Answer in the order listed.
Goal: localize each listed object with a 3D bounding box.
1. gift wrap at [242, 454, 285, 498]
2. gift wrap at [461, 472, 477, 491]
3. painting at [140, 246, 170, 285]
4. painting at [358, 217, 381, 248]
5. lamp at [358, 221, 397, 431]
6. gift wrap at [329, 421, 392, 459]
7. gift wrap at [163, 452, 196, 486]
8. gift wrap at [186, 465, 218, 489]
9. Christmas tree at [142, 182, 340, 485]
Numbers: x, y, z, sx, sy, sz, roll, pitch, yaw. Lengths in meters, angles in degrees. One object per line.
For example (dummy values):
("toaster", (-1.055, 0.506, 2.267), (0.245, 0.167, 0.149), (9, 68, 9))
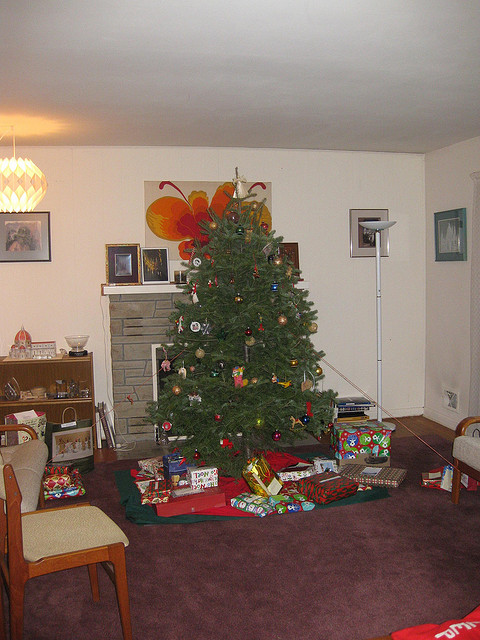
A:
("gift wrap", (0.152, 1.071, 3.522), (0.161, 0.205, 0.132), (-38, 4, 21))
("gift wrap", (1.574, 1.128, 3.571), (0.150, 0.141, 0.039), (-9, -39, 33))
("painting", (-0.776, -0.486, 4.711), (0.380, 0.446, 0.051), (-1, -2, -10))
("painting", (1.301, -0.886, 5.261), (0.285, 0.276, 0.067), (-3, 6, -10))
("lamp", (1.357, 0.064, 5.113), (0.416, 1.976, 0.386), (-9, 18, -10))
("gift wrap", (0.931, 0.918, 3.957), (0.333, 0.164, 0.311), (-1, 1, -8))
("gift wrap", (-0.430, 1.029, 3.567), (0.261, 0.171, 0.152), (-1, -4, -33))
("gift wrap", (-0.256, 1.027, 3.429), (0.153, 0.083, 0.142), (0, 0, -17))
("Christmas tree", (-0.003, 0.107, 3.503), (1.198, 2.109, 0.569), (-1, 2, 8))
